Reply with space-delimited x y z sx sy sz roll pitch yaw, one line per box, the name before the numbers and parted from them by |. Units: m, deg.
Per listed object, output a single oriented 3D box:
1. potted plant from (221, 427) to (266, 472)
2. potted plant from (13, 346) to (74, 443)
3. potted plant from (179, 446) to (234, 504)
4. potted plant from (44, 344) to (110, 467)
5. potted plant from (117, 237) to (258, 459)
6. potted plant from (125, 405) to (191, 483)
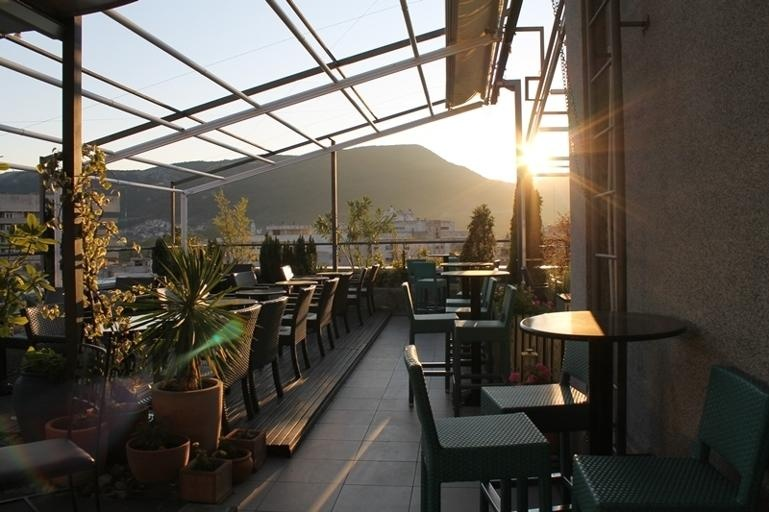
potted plant | -1.069 1.465 4.408 0.279 0.220 0.280 2 -5 -5
potted plant | -2.686 1.087 4.423 0.376 0.419 0.378 -2 0 -10
potted plant | -1.215 1.502 4.041 0.317 0.409 0.320 2 -2 0
potted plant | -2.253 1.144 4.210 0.446 0.947 0.437 -3 -5 -6
potted plant | -1.536 0.723 4.335 0.882 1.771 1.013 -2 -4 35
potted plant | -1.588 1.343 4.179 0.409 0.487 0.420 0 -3 10
